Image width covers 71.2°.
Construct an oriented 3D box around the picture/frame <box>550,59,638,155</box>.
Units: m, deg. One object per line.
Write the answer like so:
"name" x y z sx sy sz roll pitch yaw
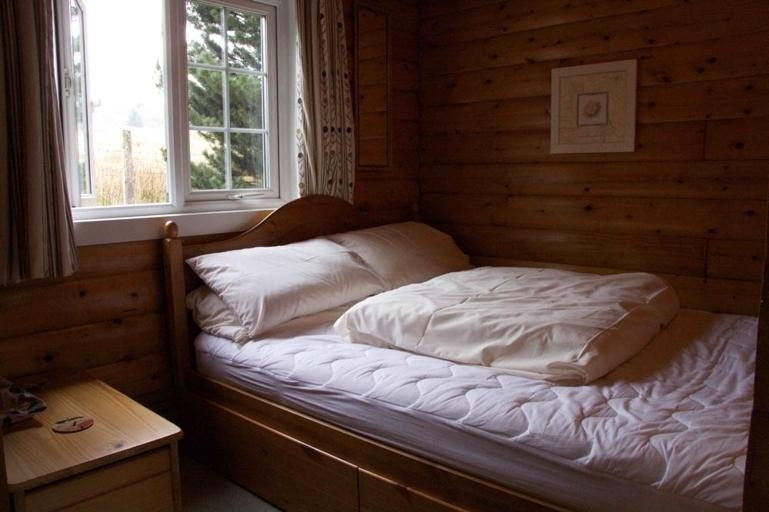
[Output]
"picture/frame" 1.410 -0.993 3.554 0.790 0.693 0.079 0 4 28
